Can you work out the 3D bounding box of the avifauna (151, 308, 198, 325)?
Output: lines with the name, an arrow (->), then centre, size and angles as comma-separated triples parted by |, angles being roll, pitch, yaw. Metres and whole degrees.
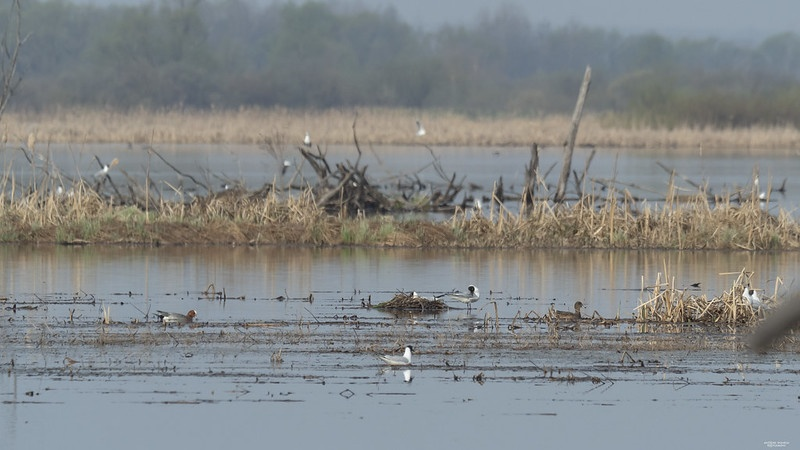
avifauna -> -7.952, 3.279, 51.804 | 1.428, 0.783, 0.507 | 11, -4, 3
